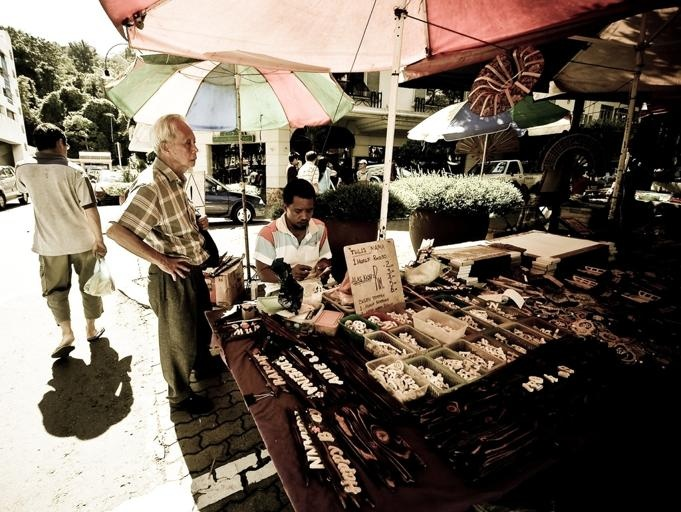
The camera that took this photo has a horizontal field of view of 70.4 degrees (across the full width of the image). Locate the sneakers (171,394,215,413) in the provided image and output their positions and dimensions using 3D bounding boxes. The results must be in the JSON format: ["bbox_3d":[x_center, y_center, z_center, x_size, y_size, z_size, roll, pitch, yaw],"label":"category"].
[{"bbox_3d":[-1.267,1.275,4.156,0.332,0.125,0.162,1,15,1],"label":"sneakers"}]

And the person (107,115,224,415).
[{"bbox_3d":[-1.389,0.121,3.976,0.465,2.468,0.785,2,18,13],"label":"person"}]

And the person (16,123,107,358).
[{"bbox_3d":[-2.759,-0.156,4.857,0.666,2.271,0.512,-11,19,-26],"label":"person"}]

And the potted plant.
[{"bbox_3d":[1.057,-0.678,6.493,1.799,0.812,1.620,2,8,32],"label":"potted plant"}]

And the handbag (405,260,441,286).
[{"bbox_3d":[0.691,0.160,3.994,0.262,0.101,0.186,-21,56,-22],"label":"handbag"}]
